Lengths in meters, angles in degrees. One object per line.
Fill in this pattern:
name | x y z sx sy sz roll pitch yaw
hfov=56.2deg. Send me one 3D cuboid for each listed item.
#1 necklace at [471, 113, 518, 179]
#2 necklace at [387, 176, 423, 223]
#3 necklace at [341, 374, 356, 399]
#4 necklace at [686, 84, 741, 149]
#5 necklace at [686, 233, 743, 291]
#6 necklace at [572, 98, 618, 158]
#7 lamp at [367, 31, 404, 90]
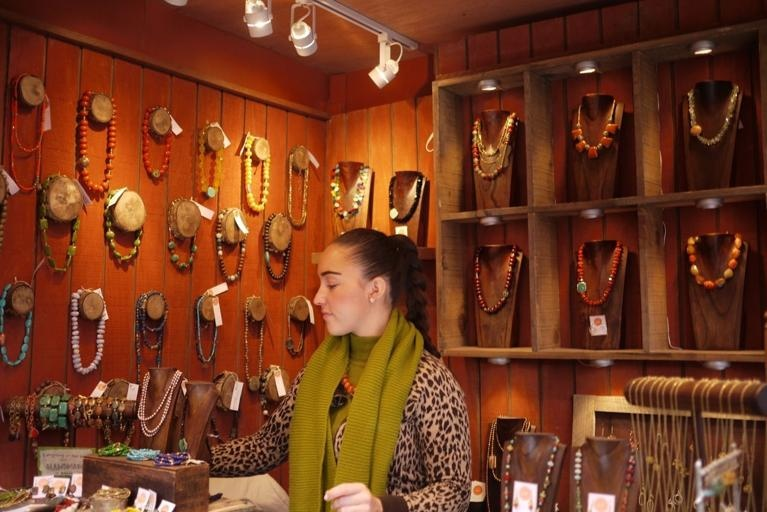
necklace | 0.690 -0.690 4.560 0.271 0.456 0.053 -3 -22 28
necklace | 0.155 -0.387 4.849 0.234 0.367 0.155 1 -4 31
necklace | -0.155 0.573 3.163 0.024 0.074 0.062 -29 -16 -3
necklace | 1.872 -0.853 4.076 0.269 0.232 0.374 3 -33 26
necklace | 1.883 0.051 4.079 0.246 0.338 0.123 0 -5 29
necklace | 1.275 -0.757 4.321 0.266 0.456 0.233 -1 -10 25
lamp | 0.031 -1.283 4.639 0.181 0.328 0.101 -3 1 21
